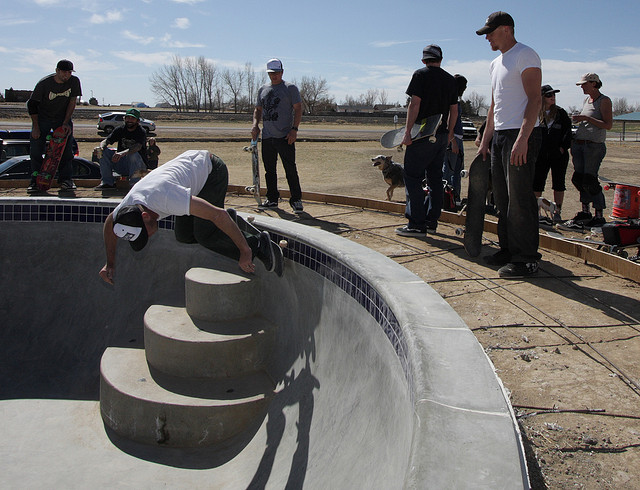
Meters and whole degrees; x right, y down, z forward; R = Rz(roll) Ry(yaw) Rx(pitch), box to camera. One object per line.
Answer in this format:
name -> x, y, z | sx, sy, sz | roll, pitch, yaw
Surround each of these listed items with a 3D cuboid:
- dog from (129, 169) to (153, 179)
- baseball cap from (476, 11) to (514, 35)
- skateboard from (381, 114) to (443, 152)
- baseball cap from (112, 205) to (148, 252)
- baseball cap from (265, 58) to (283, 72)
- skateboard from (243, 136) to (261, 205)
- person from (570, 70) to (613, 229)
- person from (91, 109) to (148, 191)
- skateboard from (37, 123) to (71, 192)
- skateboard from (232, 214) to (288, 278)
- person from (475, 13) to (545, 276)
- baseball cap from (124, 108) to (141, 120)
dog -> -3.250, -1.314, 8.952 | 0.161, 0.156, 0.480 | 0, 13, 19
baseball cap -> 1.581, -2.031, 4.463 | 0.310, 0.179, 0.342 | 0, 13, 19
skateboard -> 1.138, -1.411, 6.324 | 0.143, 0.331, 0.843 | 7, -11, -37
baseball cap -> -1.669, -0.145, 4.293 | 0.316, 0.400, 0.186 | -5, 12, -3
baseball cap -> -0.670, -2.611, 7.174 | 0.208, 0.162, 0.219 | -6, 12, -5
skateboard -> -1.091, -1.230, 7.988 | 0.234, 1.137, 0.214 | -5, 9, -25
person -> 3.833, -1.339, 7.013 | 0.498, 2.098, 0.717 | 3, 14, 30
person -> -3.525, -1.709, 8.714 | 0.826, 1.488, 1.039 | 3, 5, -21
skateboard -> -4.361, -1.452, 8.118 | 0.319, 1.306, 0.262 | 18, -6, -5
skateboard -> -0.595, 0.035, 4.766 | 0.176, 0.556, 0.221 | -33, -9, 38
person -> 1.836, -0.949, 4.793 | 0.642, 2.460, 1.283 | 1, 13, 23
baseball cap -> -3.322, -2.323, 8.702 | 0.187, 0.204, 0.445 | -8, 13, -15
